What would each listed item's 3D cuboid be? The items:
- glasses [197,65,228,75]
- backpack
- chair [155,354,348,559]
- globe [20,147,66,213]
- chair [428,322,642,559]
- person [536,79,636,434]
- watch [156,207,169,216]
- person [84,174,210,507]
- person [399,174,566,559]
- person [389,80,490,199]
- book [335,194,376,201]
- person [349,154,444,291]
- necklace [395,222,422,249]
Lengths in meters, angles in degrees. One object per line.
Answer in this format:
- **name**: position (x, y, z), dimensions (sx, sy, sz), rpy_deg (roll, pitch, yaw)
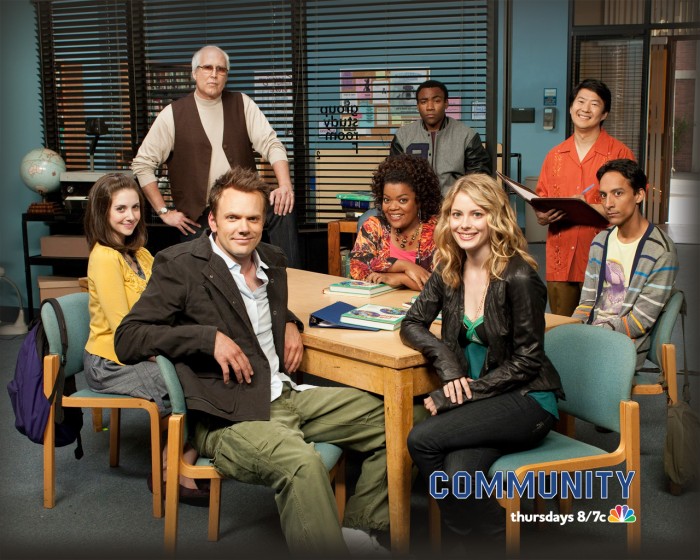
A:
- **glasses**: position (-0.879, -1.345, 3.525), dimensions (0.184, 0.046, 0.080), rpy_deg (-4, 8, -30)
- **backpack**: position (-1.341, 0.508, 2.475), dimensions (0.307, 0.802, 0.348), rpy_deg (-7, 9, -44)
- **chair**: position (-0.334, 0.646, 2.239), dimensions (0.769, 1.011, 0.608), rpy_deg (-1, 2, 11)
- **globe**: position (-2.757, -0.906, 5.017), dimensions (0.475, 0.579, 0.297), rpy_deg (4, 8, 34)
- **chair**: position (0.648, 0.444, 2.142), dimensions (0.721, 1.076, 0.639), rpy_deg (0, 0, -18)
- **person**: position (1.393, -0.261, 3.396), dimensions (0.622, 1.839, 0.615), rpy_deg (7, 17, 41)
- **watch**: position (-1.243, -0.452, 3.649), dimensions (0.070, 0.050, 0.073), rpy_deg (-17, -2, 37)
- **person**: position (-0.958, 0.280, 2.604), dimensions (0.722, 1.483, 0.445), rpy_deg (5, 6, 18)
- **person**: position (0.375, 0.200, 1.828), dimensions (0.498, 1.095, 0.455), rpy_deg (-5, 8, -35)
- **person**: position (0.589, -0.934, 3.880), dimensions (0.712, 0.917, 0.507), rpy_deg (7, 32, 23)
- **book**: position (0.031, -0.681, 4.513), dimensions (0.278, 0.067, 0.285), rpy_deg (1, 4, 12)
- **person**: position (0.270, -0.242, 2.796), dimensions (0.512, 0.741, 0.458), rpy_deg (5, 8, 26)
- **necklace**: position (0.279, -0.216, 2.781), dimensions (0.134, 0.136, 0.050), rpy_deg (-2, -4, 15)
